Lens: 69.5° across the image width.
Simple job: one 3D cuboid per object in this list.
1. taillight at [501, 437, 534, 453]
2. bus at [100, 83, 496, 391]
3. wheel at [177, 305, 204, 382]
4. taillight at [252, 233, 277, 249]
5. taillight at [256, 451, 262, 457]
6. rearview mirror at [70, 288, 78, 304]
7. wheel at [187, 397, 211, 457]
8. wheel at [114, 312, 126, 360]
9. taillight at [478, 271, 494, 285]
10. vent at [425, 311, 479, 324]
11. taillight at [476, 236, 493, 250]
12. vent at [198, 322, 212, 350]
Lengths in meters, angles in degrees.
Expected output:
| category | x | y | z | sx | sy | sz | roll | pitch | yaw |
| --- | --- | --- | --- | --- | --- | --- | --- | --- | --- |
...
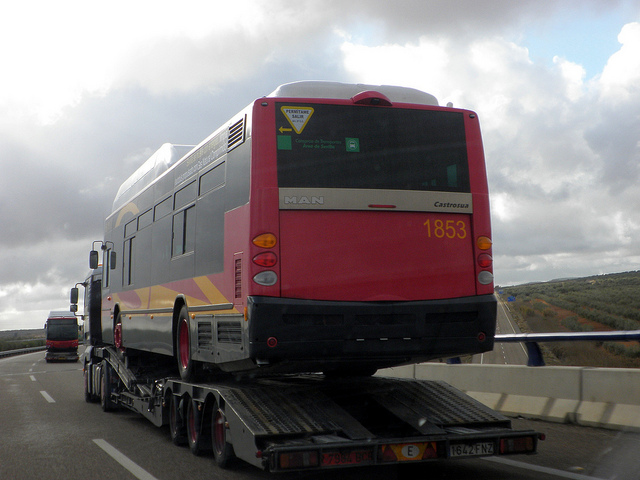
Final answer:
| category | x | y | z | sx | sy | sz | roll | pitch | yaw |
| --- | --- | --- | --- | --- | --- | --- | --- | --- | --- |
| taillight | 2.155 | 2.247 | 5.048 | 0.206 | 0.065 | 0.219 | 1 | 1 | -14 |
| bus | -2.098 | 0.397 | 9.333 | 2.735 | 3.858 | 8.571 | 5 | -12 | -37 |
| wheel | -2.036 | 1.638 | 7.288 | 0.360 | 1.610 | 1.271 | 1 | -2 | -16 |
| taillight | -0.622 | 0.016 | 5.239 | 0.270 | 0.180 | 0.057 | -3 | -3 | -9 |
| taillight | -0.584 | 2.076 | 4.452 | 0.039 | 0.058 | 0.089 | -2 | -3 | -25 |
| rearview mirror | -7.629 | 1.757 | 14.299 | 0.115 | 0.475 | 0.268 | -2 | -3 | -9 |
| wheel | -1.741 | 2.730 | 6.702 | 0.290 | 1.020 | 0.924 | 1 | 3 | -18 |
| wheel | -4.966 | 2.391 | 11.438 | 0.195 | 1.168 | 0.857 | -1 | -3 | -30 |
| taillight | 2.110 | 0.484 | 5.881 | 0.218 | 0.114 | 0.028 | -3 | -3 | -24 |
| vent | 1.628 | 0.962 | 5.738 | 0.294 | 0.091 | 0.293 | -1 | 0 | -4 |
| taillight | 2.112 | 0.039 | 5.927 | 0.218 | 0.116 | 0.041 | -3 | -3 | -19 |
| vent | -1.632 | 1.369 | 6.589 | 0.143 | 0.464 | 0.445 | -1 | 1 | -27 |
